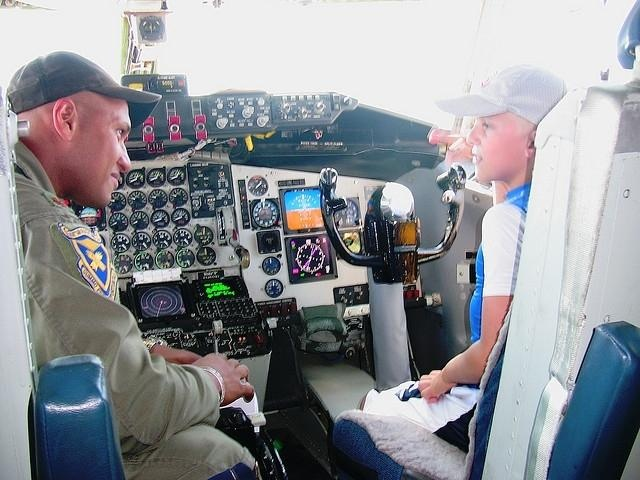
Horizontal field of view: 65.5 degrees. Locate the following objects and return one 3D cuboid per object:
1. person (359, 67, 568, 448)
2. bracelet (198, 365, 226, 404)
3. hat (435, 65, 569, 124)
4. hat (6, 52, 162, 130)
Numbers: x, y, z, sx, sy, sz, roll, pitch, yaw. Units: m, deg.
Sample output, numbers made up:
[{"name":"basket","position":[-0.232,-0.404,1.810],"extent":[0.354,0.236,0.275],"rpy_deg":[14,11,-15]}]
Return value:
[{"name":"person","position":[0.232,-0.040,1.296],"extent":[0.521,0.971,0.502],"rpy_deg":[7,13,16]},{"name":"bracelet","position":[-0.302,0.402,1.390],"extent":[0.075,0.089,0.022],"rpy_deg":[7,15,39]},{"name":"hat","position":[0.314,-0.250,0.840],"extent":[0.133,0.072,0.087],"rpy_deg":[17,19,20]},{"name":"hat","position":[-0.615,-0.383,1.280],"extent":[0.277,0.154,0.173],"rpy_deg":[-23,11,-27]}]
